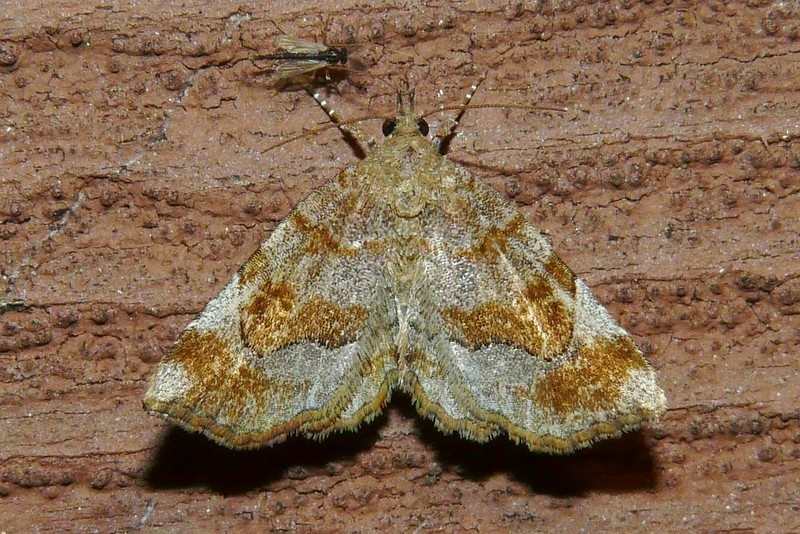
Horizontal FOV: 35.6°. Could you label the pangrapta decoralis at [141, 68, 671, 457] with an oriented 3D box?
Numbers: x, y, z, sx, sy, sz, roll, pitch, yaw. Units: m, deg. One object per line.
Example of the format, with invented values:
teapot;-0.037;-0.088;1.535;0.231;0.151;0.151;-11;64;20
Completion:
pangrapta decoralis;-0.080;-0.225;9.120;3.653;0.877;3.168;-7;64;7
